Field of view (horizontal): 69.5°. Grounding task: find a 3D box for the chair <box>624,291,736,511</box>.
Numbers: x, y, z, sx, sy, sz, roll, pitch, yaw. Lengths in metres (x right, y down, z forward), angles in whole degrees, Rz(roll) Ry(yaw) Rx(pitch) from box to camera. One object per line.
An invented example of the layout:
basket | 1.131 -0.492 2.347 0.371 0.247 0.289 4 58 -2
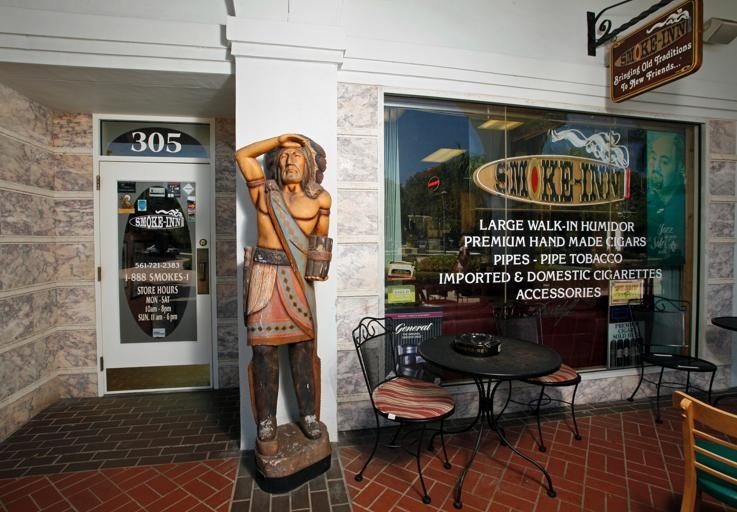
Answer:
chair | 3.270 1.015 5.615 0.924 1.147 0.697 -4 2 -16
